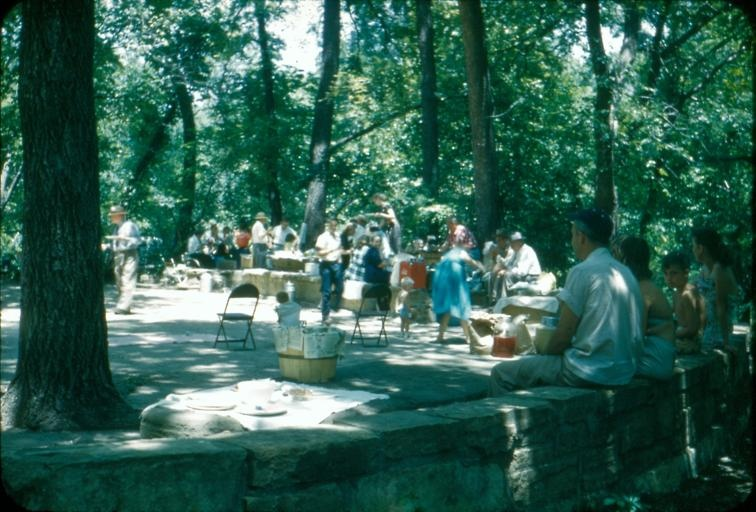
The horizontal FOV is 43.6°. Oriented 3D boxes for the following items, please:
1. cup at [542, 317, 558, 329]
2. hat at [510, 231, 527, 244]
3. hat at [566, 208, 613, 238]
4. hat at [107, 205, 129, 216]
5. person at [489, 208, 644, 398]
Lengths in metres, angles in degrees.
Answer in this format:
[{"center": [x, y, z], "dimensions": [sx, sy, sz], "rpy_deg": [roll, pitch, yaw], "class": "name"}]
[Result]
[{"center": [2.168, 0.834, 11.908], "dimensions": [0.146, 0.108, 0.144], "rpy_deg": [1, 1, 0], "class": "cup"}, {"center": [2.832, -0.371, 19.429], "dimensions": [0.253, 0.099, 0.262], "rpy_deg": [-13, 0, -16], "class": "hat"}, {"center": [2.550, -0.402, 11.342], "dimensions": [0.327, 0.251, 0.434], "rpy_deg": [-1, 34, -37], "class": "hat"}, {"center": [-5.443, -0.965, 19.803], "dimensions": [0.340, 0.255, 1.056], "rpy_deg": [0, -1, -14], "class": "hat"}, {"center": [2.349, 0.503, 11.170], "dimensions": [1.513, 2.151, 0.426], "rpy_deg": [0, 0, 12], "class": "person"}]
